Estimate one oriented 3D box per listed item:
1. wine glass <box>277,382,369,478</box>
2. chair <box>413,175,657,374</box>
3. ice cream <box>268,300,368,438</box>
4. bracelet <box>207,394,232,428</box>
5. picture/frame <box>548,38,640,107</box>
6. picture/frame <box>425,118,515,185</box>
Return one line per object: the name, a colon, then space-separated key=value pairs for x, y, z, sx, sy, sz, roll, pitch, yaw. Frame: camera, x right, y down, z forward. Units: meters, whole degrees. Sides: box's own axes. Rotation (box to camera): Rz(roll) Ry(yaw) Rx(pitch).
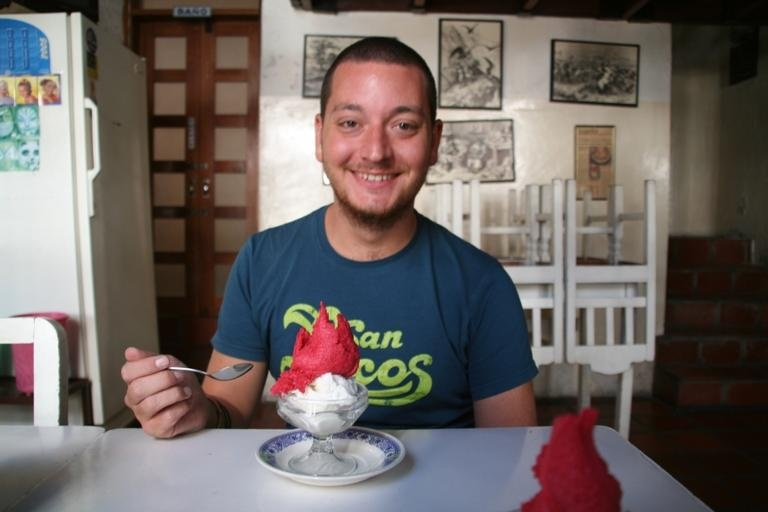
wine glass: x=-0.206 y=0.544 z=2.024 sx=0.292 sy=0.266 sz=0.268 roll=4 pitch=-16 yaw=-12
chair: x=0.868 y=0.111 z=4.122 sx=1.160 sy=1.429 sz=1.415 roll=-2 pitch=3 yaw=-5
ice cream: x=-0.193 y=0.386 z=2.027 sx=0.321 sy=0.434 sz=0.316 roll=4 pitch=5 yaw=42
bracelet: x=-0.567 y=0.549 z=2.233 sx=0.076 sy=0.115 sz=0.120 roll=-1 pitch=4 yaw=-15
picture/frame: x=1.356 y=-1.151 z=4.105 sx=0.455 sy=0.311 sz=0.019 roll=3 pitch=-4 yaw=7
picture/frame: x=0.564 y=-0.649 z=3.925 sx=0.664 sy=0.435 sz=0.026 roll=0 pitch=11 yaw=5
